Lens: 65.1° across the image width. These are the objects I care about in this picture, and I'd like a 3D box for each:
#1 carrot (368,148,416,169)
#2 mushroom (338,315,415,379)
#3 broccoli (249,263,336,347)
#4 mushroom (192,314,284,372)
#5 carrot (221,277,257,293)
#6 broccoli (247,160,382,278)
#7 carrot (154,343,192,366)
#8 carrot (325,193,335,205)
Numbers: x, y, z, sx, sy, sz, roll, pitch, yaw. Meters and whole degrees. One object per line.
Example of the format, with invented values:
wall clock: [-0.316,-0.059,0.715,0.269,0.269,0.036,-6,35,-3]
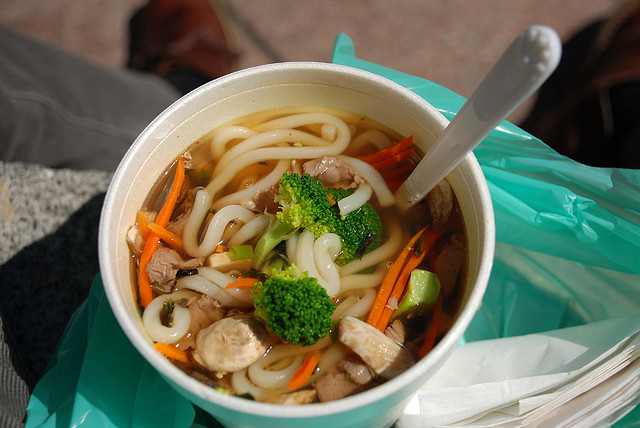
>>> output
carrot: [0.362,-0.273,2.659,0.303,0.054,0.082,-16,-54,45]
mushroom: [0.251,0.614,2.336,0.381,0.166,0.078,37,-5,3]
broccoli: [-0.074,0.414,2.372,0.277,0.309,0.441,-17,34,-34]
mushroom: [-0.401,0.613,2.374,0.420,0.138,0.286,-18,46,-32]
carrot: [-0.385,0.348,2.428,0.160,0.042,0.037,-10,-11,-7]
broccoli: [-0.039,0.013,2.649,0.671,0.504,0.391,-3,25,-7]
carrot: [-0.667,0.640,2.266,0.204,0.049,0.054,30,-4,-13]
carrot: [0.054,-0.072,2.527,0.012,0.044,0.044,-25,17,36]
